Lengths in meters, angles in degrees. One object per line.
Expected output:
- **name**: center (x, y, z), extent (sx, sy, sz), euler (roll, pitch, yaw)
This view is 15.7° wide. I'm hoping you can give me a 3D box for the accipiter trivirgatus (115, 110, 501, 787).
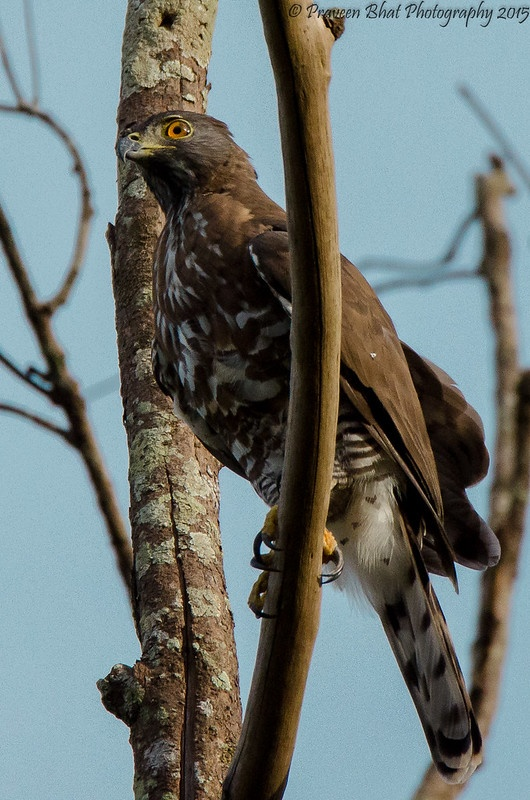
- **accipiter trivirgatus**: center (0.172, 0.073, 6.431), extent (1.472, 2.414, 0.898), euler (32, -51, -29)
